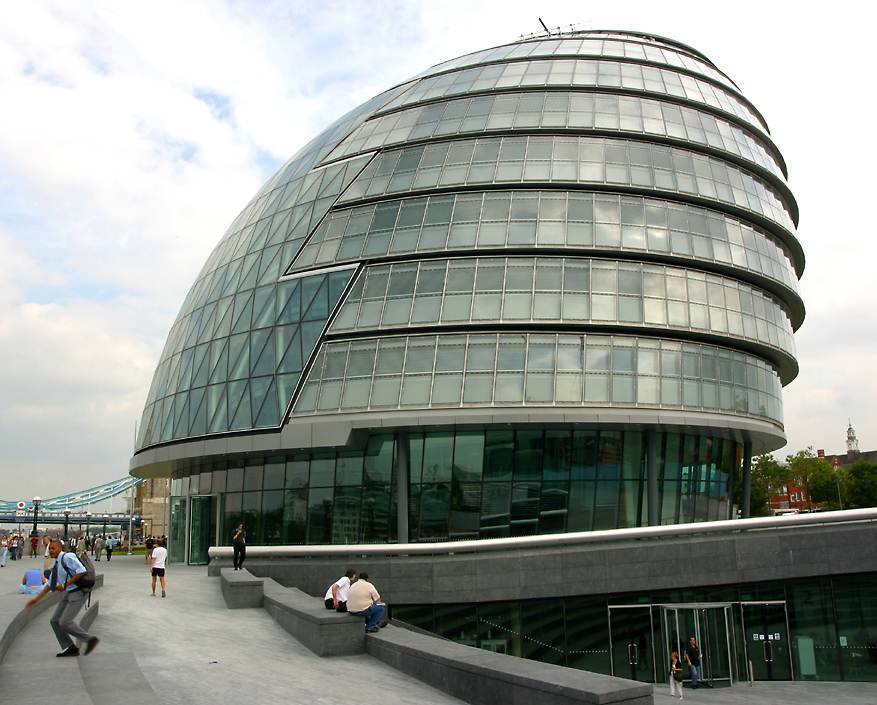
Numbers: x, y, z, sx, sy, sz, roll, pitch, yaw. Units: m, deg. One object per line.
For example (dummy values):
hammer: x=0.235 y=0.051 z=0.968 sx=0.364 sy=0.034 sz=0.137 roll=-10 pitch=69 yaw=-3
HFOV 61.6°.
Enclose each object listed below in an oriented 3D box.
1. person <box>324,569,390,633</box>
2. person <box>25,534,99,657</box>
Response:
person: x=-2.090 y=6.102 z=18.148 sx=1.153 sy=1.315 sz=2.031 roll=5 pitch=-14 yaw=-22
person: x=-7.239 y=4.722 z=14.288 sx=0.937 sy=2.157 sz=1.168 roll=7 pitch=-15 yaw=-26
